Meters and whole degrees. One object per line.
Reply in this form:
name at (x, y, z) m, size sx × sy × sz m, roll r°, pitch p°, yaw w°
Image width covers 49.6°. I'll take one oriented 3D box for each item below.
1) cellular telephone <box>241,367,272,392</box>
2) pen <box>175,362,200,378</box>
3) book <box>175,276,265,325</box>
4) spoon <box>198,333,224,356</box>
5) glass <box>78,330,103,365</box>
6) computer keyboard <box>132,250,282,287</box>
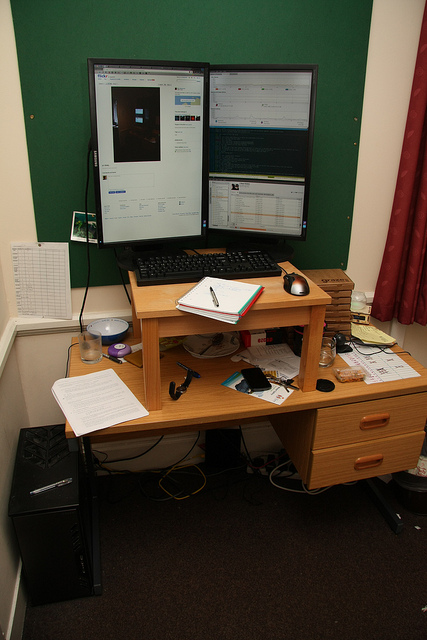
cellular telephone at (0.132, 0.181, 1.426) m, size 0.073 × 0.018 × 0.127 m, roll -6°, pitch 27°, yaw -14°
pen at (-0.087, 0.156, 1.497) m, size 0.027 × 0.026 × 0.132 m, roll -18°, pitch 32°, yaw -33°
book at (0.017, -0.053, 1.207) m, size 0.188 × 0.052 × 0.237 m, roll 10°, pitch 28°, yaw 18°
spoon at (-0.009, 0.078, 1.647) m, size 0.037 × 0.016 × 0.133 m, roll 14°, pitch 27°, yaw 22°
glass at (-0.412, 0.091, 1.558) m, size 0.067 × 0.094 × 0.109 m, roll -1°, pitch 22°, yaw -5°
computer keyboard at (-0.020, -0.163, 1.396) m, size 0.438 × 0.045 × 0.201 m, roll -6°, pitch 27°, yaw -13°
